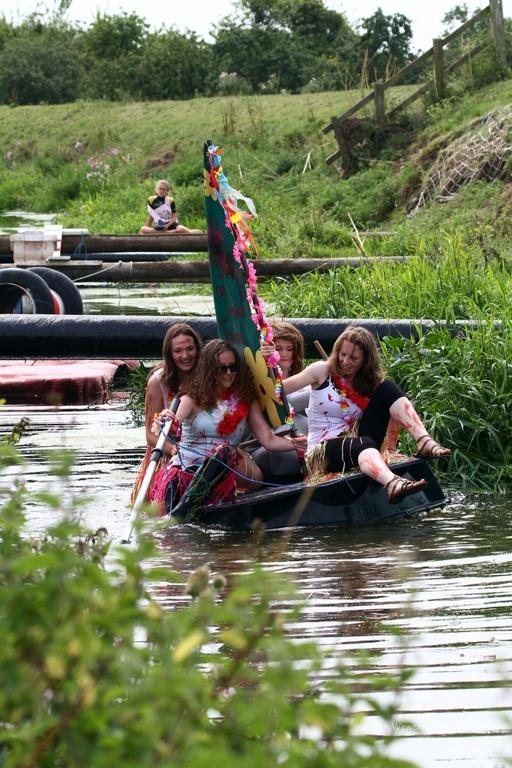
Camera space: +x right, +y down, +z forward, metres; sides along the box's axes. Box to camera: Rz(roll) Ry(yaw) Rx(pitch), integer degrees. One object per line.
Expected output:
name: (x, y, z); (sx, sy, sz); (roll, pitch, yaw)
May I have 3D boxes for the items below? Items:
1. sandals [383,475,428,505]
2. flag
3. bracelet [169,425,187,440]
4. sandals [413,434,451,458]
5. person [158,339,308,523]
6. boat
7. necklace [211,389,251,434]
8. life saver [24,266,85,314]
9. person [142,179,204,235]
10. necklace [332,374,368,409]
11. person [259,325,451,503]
sandals: (0.814, 0.575, 5.138); (0.274, 0.118, 0.092); (-21, 17, 42)
flag: (-0.070, -0.550, 5.444); (0.392, 1.798, 0.154); (4, 20, 39)
bracelet: (-0.480, 0.289, 5.617); (0.071, 0.087, 0.044); (6, 7, 33)
sandals: (1.017, 0.369, 5.373); (0.100, 0.084, 0.211); (-2, -2, -26)
person: (-0.199, 0.289, 5.460); (0.715, 0.992, 0.862); (-7, 15, -43)
boat: (0.165, 0.663, 5.792); (1.389, 0.272, 1.390); (15, -12, -37)
necklace: (-0.154, 0.176, 5.590); (0.163, 0.241, 0.070); (35, -1, -16)
life saver: (-2.278, -1.099, 10.931); (0.640, 0.564, 0.165); (-9, 3, -9)
person: (-1.991, -3.873, 20.443); (1.267, 1.160, 0.885); (3, 25, 18)
necklace: (0.570, 0.052, 5.711); (0.244, 0.096, 0.151); (39, 14, -11)
person: (0.653, 0.122, 5.598); (0.888, 0.875, 1.202); (-9, 12, -43)
